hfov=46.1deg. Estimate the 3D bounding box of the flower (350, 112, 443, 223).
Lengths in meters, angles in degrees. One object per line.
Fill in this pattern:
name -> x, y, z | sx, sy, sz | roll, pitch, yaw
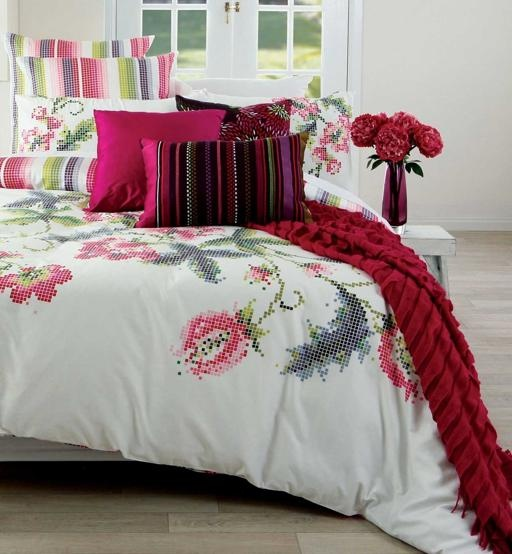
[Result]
flower -> 0.635, -0.466, 2.682 | 0.388, 0.381, 0.364 | 9, 12, 24
